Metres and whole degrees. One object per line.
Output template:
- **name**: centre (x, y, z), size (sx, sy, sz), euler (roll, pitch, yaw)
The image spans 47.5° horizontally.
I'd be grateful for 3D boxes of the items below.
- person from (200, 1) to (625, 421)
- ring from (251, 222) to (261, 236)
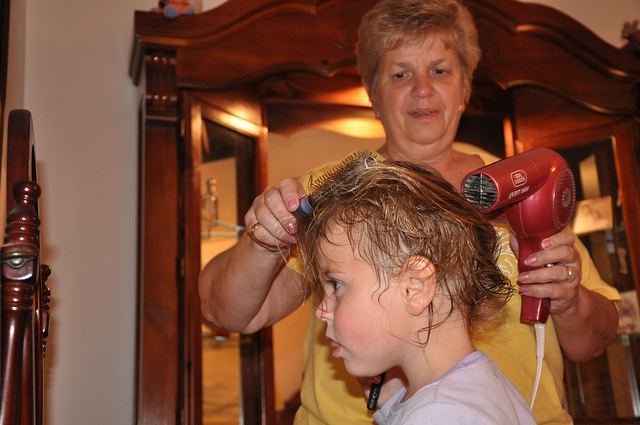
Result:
- **person**: centre (0.238, -0.107, 1.940), size (1.080, 1.303, 0.555), euler (1, -16, -11)
- **ring**: centre (-0.157, 0.041, 1.748), size (0.007, 0.026, 0.026), euler (15, -53, 1)
